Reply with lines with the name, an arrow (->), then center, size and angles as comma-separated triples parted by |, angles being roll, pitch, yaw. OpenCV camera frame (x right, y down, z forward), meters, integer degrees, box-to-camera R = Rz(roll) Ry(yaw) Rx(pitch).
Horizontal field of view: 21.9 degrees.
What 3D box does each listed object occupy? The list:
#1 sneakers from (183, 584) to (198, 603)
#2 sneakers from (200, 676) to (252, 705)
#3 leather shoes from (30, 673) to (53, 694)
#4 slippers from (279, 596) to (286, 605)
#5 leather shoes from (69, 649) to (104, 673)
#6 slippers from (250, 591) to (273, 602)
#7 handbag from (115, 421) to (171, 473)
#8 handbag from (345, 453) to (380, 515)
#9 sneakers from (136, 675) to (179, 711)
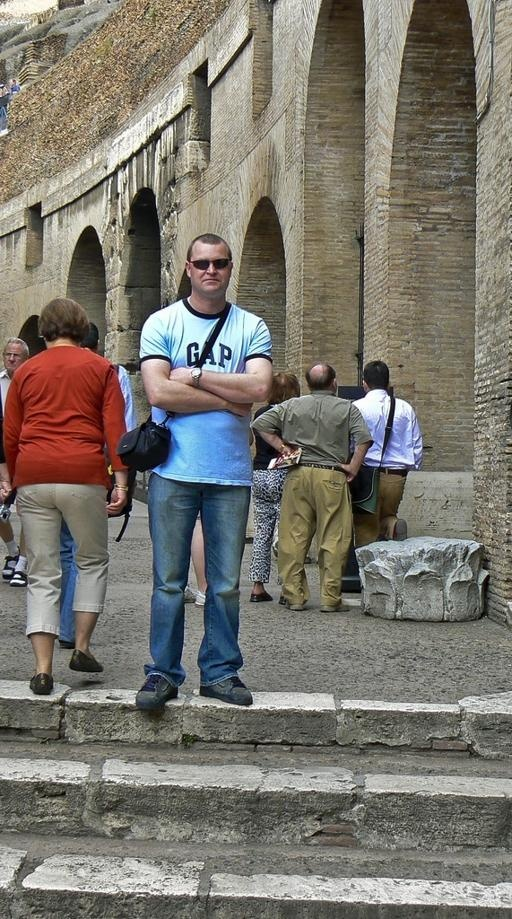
sneakers -> -0.423, 0.811, 8.023 | 0.099, 0.129, 0.288 | 1, -6, -7
sneakers -> -0.108, 0.848, 4.854 | 0.075, 0.100, 0.214 | 0, -5, -44
leather shoes -> -0.787, 0.816, 4.865 | 0.089, 0.075, 0.166 | 3, 0, -9
slippers -> 0.157, 0.860, 8.044 | 0.026, 0.042, 0.059 | 1, -7, -2
leather shoes -> -0.702, 0.828, 5.444 | 0.065, 0.083, 0.184 | 10, -1, 28
slippers -> 0.028, 0.853, 8.281 | 0.053, 0.066, 0.151 | 1, 1, 38
handbag -> -0.404, -0.043, 4.770 | 0.088, 0.168, 0.123 | 33, -31, -19
handbag -> 0.629, 0.151, 7.993 | 0.132, 0.359, 0.346 | 3, -4, -30
sneakers -> -0.355, 0.840, 4.761 | 0.072, 0.096, 0.201 | 5, -2, 14
